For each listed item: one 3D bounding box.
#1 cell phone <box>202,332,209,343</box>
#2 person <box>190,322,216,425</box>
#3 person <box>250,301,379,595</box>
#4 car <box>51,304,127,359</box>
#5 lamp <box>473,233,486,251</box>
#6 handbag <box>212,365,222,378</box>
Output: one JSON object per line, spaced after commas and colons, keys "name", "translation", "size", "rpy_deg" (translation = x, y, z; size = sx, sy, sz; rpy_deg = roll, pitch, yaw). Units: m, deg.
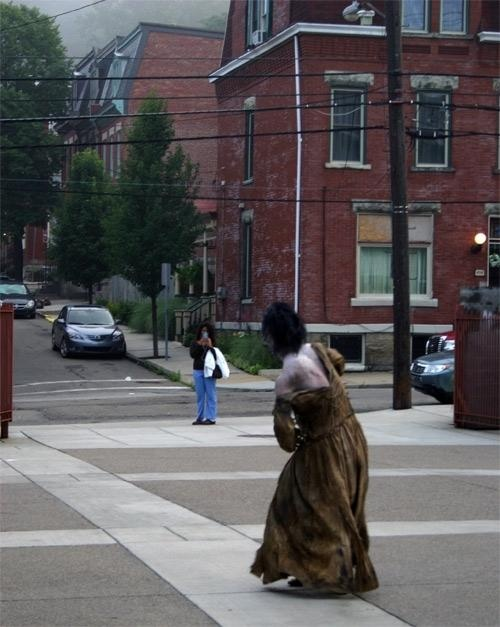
{"name": "cell phone", "translation": [-0.652, 0.351, 22.486], "size": [0.107, 0.110, 0.201], "rpy_deg": [0, 35, 0]}
{"name": "person", "translation": [-0.687, 0.901, 22.431], "size": [0.396, 1.519, 0.712], "rpy_deg": [1, -1, -2]}
{"name": "person", "translation": [0.559, 1.132, 12.657], "size": [1.029, 2.441, 0.433], "rpy_deg": [1, -1, 0]}
{"name": "car", "translation": [-3.781, 0.417, 35.437], "size": [1.564, 1.278, 2.086], "rpy_deg": [1, -1, -10]}
{"name": "lamp", "translation": [4.977, -1.557, 32.450], "size": [0.299, 0.347, 0.344], "rpy_deg": [-1, -8, 3]}
{"name": "handbag", "translation": [-0.470, 0.869, 22.252], "size": [0.153, 0.294, 0.195], "rpy_deg": [-1, -1, 0]}
